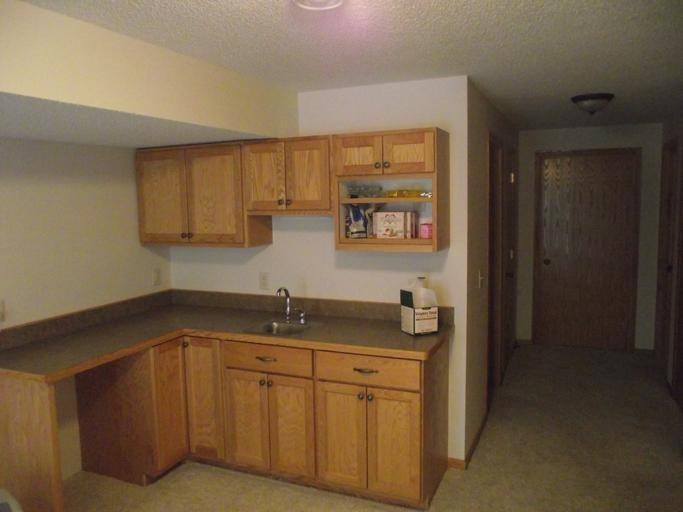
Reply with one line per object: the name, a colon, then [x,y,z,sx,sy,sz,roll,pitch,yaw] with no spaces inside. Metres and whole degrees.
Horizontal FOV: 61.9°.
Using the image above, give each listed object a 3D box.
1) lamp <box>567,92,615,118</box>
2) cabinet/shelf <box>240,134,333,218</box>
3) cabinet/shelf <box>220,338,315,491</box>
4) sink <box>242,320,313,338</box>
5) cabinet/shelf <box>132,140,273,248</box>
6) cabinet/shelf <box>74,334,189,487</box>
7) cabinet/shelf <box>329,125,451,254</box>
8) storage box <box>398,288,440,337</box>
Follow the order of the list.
lamp: [1.961,-1.208,4.499,0.198,0.086,0.201,0,0,6]
cabinet/shelf: [-0.444,-0.558,4.129,0.660,0.521,0.237,-5,9,-28]
cabinet/shelf: [-0.428,0.978,4.107,0.660,0.932,0.600,3,9,15]
sink: [-0.473,0.541,4.113,0.462,0.106,0.314,-4,13,-15]
cabinet/shelf: [-1.101,-0.451,4.459,0.981,0.777,0.362,2,7,23]
cabinet/shelf: [-1.483,1.098,4.121,0.632,0.945,0.478,-1,2,20]
cabinet/shelf: [0.344,-0.437,3.929,0.769,0.799,0.288,2,9,28]
storage box: [0.520,0.375,3.888,0.259,0.291,0.263,2,5,29]
